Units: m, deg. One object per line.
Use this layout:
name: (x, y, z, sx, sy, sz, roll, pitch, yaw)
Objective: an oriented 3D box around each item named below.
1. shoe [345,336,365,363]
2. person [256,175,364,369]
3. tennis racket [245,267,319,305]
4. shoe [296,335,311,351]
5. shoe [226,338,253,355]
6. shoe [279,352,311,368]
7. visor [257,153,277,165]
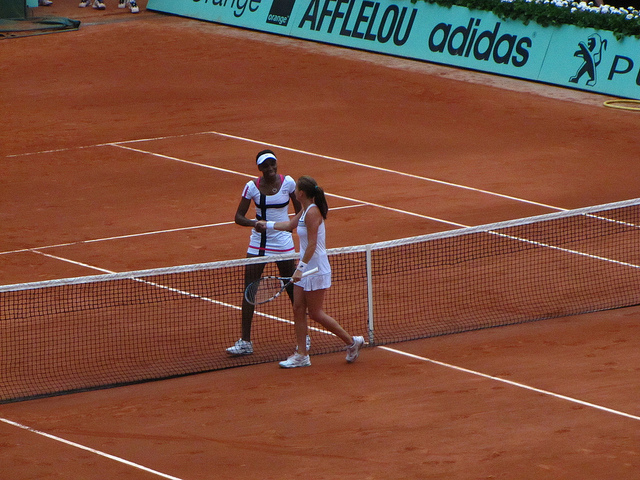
shoe: (0.405, 1.314, 10.818, 0.202, 0.358, 0.140, 11, 17, -12)
person: (-0.080, 0.414, 10.667, 1.472, 2.288, 0.801, 14, 12, 9)
tennis racket: (-0.434, 0.536, 11.933, 1.234, 0.429, 0.079, -18, -37, 28)
shoe: (-0.151, 1.252, 11.023, 0.224, 0.186, 0.152, -3, 0, 33)
shoe: (-0.980, 1.322, 10.995, 0.379, 0.156, 0.135, 2, -5, 3)
shoe: (-0.297, 1.443, 10.643, 0.396, 0.154, 0.132, 1, 0, -7)
visor: (-0.678, -0.967, 10.936, 0.173, 0.162, 0.171, 6, 12, -22)
